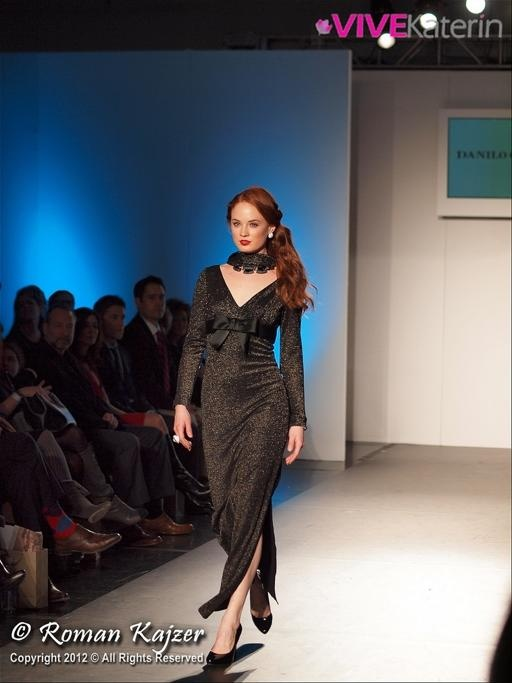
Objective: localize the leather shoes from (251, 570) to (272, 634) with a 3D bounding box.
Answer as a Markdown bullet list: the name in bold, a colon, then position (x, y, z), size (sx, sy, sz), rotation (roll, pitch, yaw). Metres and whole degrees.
- **leather shoes**: position (0.025, 0.823, 1.848), size (0.059, 0.214, 0.065), rotation (1, 21, 30)

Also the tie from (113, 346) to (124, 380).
- **tie**: position (-0.872, 0.125, 3.712), size (0.044, 0.177, 0.101), rotation (-11, 8, -4)

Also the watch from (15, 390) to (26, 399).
- **watch**: position (-1.037, 0.236, 2.550), size (0.021, 0.033, 0.054), rotation (-1, -4, -4)

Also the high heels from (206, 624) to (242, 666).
- **high heels**: position (-0.091, 0.861, 1.670), size (0.128, 0.082, 0.068), rotation (3, -5, -43)

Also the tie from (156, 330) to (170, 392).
- **tie**: position (-0.650, 0.169, 4.106), size (0.039, 0.339, 0.039), rotation (8, 0, -5)

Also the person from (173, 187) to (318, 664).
- **person**: position (-0.034, 0.221, 1.767), size (0.415, 1.393, 0.237), rotation (0, -5, -20)

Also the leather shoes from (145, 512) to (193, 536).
- **leather shoes**: position (-0.512, 1.053, 3.361), size (0.307, 0.118, 0.103), rotation (1, -4, -7)

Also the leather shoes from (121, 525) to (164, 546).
- **leather shoes**: position (-0.604, 1.043, 3.143), size (0.233, 0.148, 0.085), rotation (1, -3, -9)

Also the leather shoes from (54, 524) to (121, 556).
- **leather shoes**: position (-0.752, 0.874, 2.596), size (0.315, 0.119, 0.108), rotation (-3, -2, -14)

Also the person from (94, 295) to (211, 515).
- **person**: position (-0.611, 0.421, 3.648), size (0.461, 1.330, 1.128), rotation (-20, 21, -41)
